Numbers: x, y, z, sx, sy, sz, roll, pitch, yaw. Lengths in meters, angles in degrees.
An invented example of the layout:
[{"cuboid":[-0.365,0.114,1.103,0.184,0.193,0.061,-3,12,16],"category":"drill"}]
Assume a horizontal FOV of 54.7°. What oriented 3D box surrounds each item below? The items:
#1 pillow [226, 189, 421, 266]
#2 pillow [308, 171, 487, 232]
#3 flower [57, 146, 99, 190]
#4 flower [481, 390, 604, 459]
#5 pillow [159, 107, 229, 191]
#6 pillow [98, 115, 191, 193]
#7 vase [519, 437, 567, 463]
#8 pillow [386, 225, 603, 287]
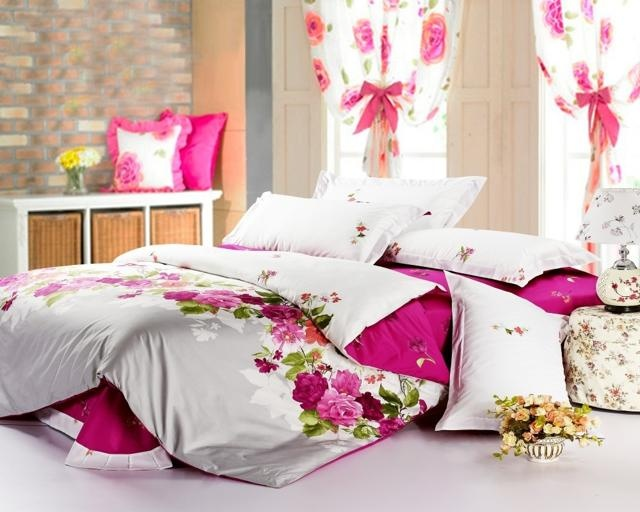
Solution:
[{"cuboid":[-0.060,-0.115,3.048,0.705,0.112,0.419,1,36,35],"category":"pillow"},{"cuboid":[0.513,-0.333,3.375,0.842,0.292,0.383,7,6,35],"category":"pillow"},{"cuboid":[-1.784,-0.613,4.561,0.327,0.283,0.314,-2,-4,35],"category":"flower"},{"cuboid":[0.733,0.527,2.032,0.278,0.134,0.265,-1,0,-21],"category":"flower"},{"cuboid":[-0.953,-0.827,4.846,0.673,0.570,0.189,4,3,19],"category":"pillow"},{"cuboid":[-1.340,-0.775,4.777,0.754,0.551,0.136,-1,-8,-3],"category":"pillow"},{"cuboid":[0.717,0.607,1.983,0.112,0.057,0.097,-2,-2,-22],"category":"vase"},{"cuboid":[0.693,-0.010,2.817,0.620,0.130,0.404,2,9,38],"category":"pillow"}]
